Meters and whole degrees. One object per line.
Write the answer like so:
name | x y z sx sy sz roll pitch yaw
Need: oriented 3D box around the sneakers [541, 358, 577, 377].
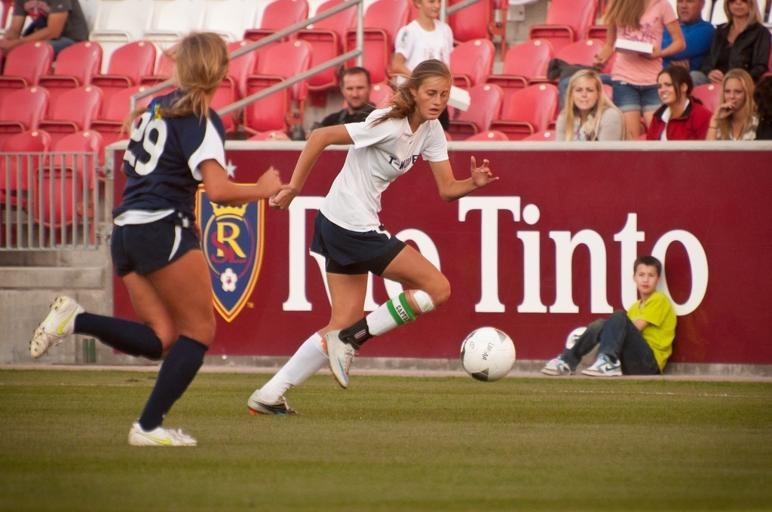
sneakers | 1.805 1.178 13.972 0.330 0.136 0.158 4 -2 4

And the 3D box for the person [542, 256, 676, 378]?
person | 2.415 0.647 14.043 1.321 1.279 0.684 3 -8 -15

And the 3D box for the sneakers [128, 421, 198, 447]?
sneakers | -1.877 1.507 11.317 0.612 0.217 0.217 2 -3 -5

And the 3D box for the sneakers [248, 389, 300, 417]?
sneakers | -1.052 1.361 12.203 0.519 0.213 0.170 6 2 -10

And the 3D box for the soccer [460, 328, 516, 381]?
soccer | 0.985 0.953 12.595 0.497 0.484 0.489 -4 -9 5

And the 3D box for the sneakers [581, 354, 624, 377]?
sneakers | 2.260 1.171 13.888 0.448 0.229 0.177 3 -4 -1

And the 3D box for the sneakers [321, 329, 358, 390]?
sneakers | -0.412 0.898 12.026 0.291 0.593 0.203 -15 -2 6
